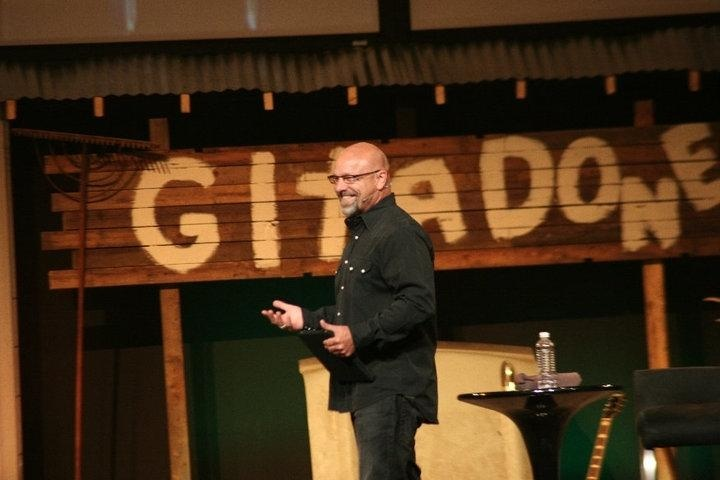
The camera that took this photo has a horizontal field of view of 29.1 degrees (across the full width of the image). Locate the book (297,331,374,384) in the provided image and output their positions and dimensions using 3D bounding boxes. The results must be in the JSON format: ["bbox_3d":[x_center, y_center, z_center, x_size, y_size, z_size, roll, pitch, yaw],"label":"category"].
[{"bbox_3d":[-0.227,1.058,12.616,0.474,0.480,0.514,-8,-14,29],"label":"book"}]
